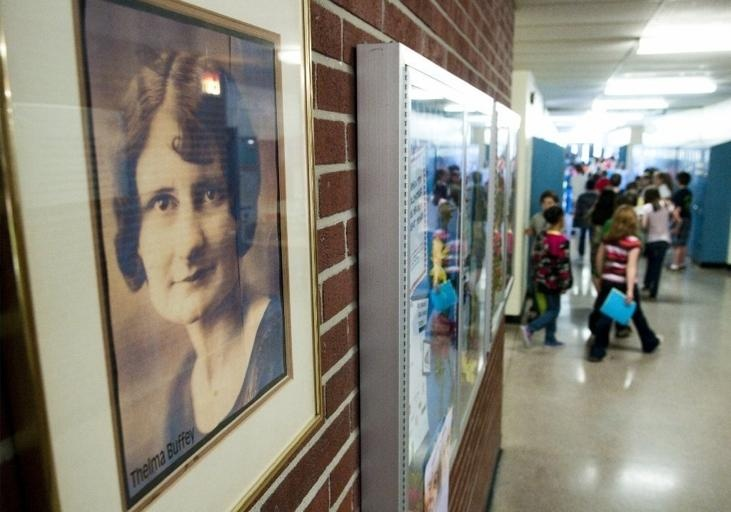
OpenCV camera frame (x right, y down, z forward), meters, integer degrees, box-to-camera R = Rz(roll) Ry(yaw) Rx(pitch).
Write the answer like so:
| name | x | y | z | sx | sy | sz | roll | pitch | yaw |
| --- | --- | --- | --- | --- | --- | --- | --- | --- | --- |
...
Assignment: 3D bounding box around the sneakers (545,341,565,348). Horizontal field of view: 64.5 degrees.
| name | x | y | z | sx | sy | sz | roll | pitch | yaw |
| --- | --- | --- | --- | --- | --- | --- | --- | --- | --- |
| sneakers | 2.010 | 0.925 | 6.140 | 0.197 | 0.078 | 0.074 | 0 | 17 | -3 |
